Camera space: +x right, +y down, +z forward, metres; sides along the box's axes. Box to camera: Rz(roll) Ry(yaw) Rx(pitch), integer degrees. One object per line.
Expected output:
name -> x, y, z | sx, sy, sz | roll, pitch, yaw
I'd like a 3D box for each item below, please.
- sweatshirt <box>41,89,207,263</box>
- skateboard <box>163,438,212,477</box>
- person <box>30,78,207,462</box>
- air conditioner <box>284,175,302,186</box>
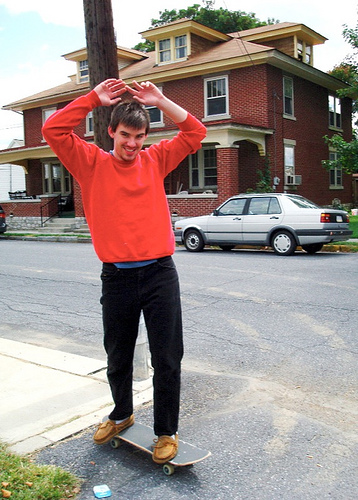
sweatshirt -> -0.293, -0.388, 2.477 | 0.308, 0.925, 1.041 | 5, 14, 43
skateboard -> 0.046, 1.075, 2.360 | 0.223, 0.136, 0.272 | 1, 4, 10
person -> -0.275, 0.104, 2.505 | 0.750, 2.081, 0.524 | 1, 4, 9
air conditioner -> 6.026, -3.749, 24.197 | 0.189, 0.600, 1.850 | 4, 5, 40
